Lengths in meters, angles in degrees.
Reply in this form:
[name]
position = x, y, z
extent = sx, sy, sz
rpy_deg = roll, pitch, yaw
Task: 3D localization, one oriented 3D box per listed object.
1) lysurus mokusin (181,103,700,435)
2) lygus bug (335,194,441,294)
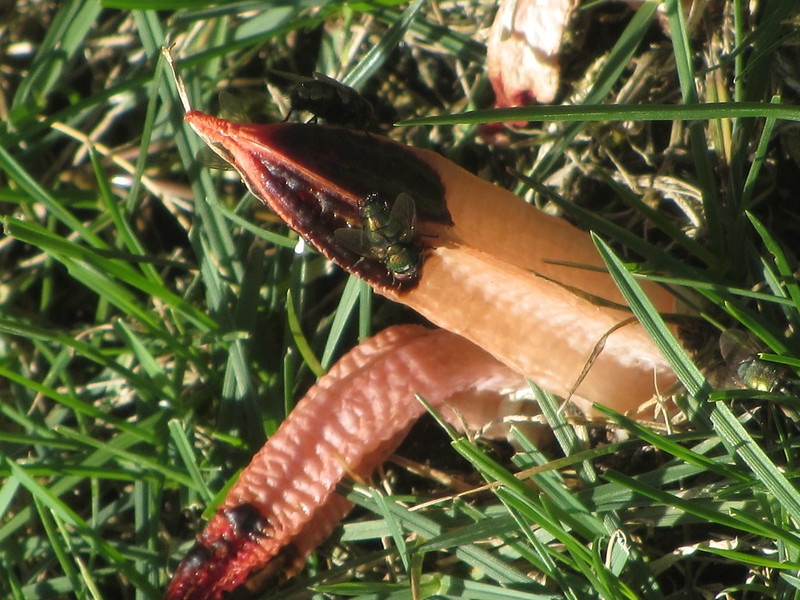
[lysurus mokusin]
position = 0.124, -0.060, 2.787
extent = 1.547, 0.414, 0.460
rpy_deg = 39, 72, -9
[lygus bug]
position = -0.034, -0.174, 2.561
extent = 0.183, 0.250, 0.163
rpy_deg = -13, 14, -25
